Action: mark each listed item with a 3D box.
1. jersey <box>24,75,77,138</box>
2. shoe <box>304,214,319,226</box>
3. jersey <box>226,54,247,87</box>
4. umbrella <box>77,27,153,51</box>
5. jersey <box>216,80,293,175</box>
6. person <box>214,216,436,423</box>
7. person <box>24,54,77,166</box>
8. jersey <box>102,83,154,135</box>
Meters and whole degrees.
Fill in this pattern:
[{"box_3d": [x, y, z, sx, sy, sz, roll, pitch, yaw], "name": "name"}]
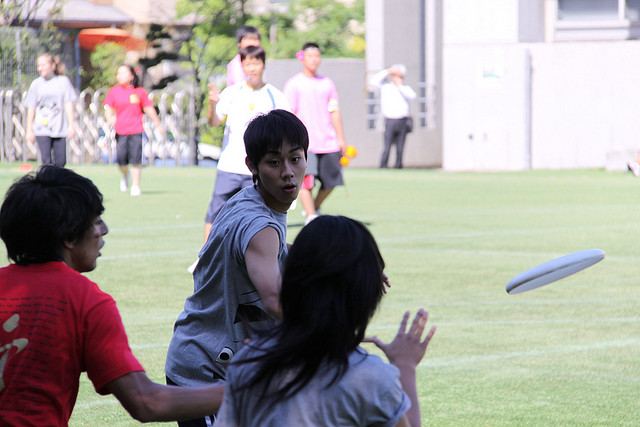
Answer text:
[{"box_3d": [-4.127, -1.579, 18.242, 0.727, 0.914, 0.316, -1, 10, -14], "name": "jersey"}, {"box_3d": [-0.076, 0.059, 11.220, 0.087, 0.104, 0.096, -2, 10, 1], "name": "shoe"}, {"box_3d": [-1.000, -1.639, 14.100, 0.099, 0.323, 0.341, 6, -1, -34], "name": "jersey"}, {"box_3d": [-5.429, -4.362, 30.799, 1.751, 0.621, 2.332, 2, 9, 4], "name": "umbrella"}, {"box_3d": [-0.678, -0.956, 13.731, 0.994, 1.112, 0.644, 1, 26, 19], "name": "jersey"}, {"box_3d": [-0.020, 0.771, 8.669, 1.330, 1.459, 0.427, 0, 10, -8], "name": "person"}, {"box_3d": [-4.111, -1.533, 18.222, 0.770, 1.674, 1.051, -1, 10, -12], "name": "person"}, {"box_3d": [-3.037, -1.634, 19.047, 0.843, 0.738, 0.373, -1, 17, -3], "name": "jersey"}]
